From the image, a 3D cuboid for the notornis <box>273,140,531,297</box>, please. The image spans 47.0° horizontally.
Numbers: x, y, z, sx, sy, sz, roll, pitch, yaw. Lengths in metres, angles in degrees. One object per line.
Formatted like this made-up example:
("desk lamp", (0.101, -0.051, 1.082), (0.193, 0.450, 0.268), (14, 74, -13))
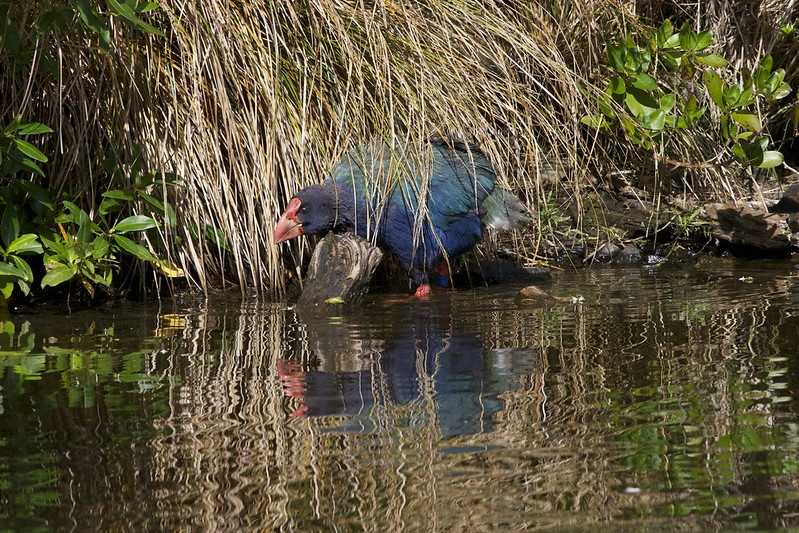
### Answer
("notornis", (0.062, -0.371, 6.080), (1.746, 0.975, 0.798), (-18, 19, -6))
